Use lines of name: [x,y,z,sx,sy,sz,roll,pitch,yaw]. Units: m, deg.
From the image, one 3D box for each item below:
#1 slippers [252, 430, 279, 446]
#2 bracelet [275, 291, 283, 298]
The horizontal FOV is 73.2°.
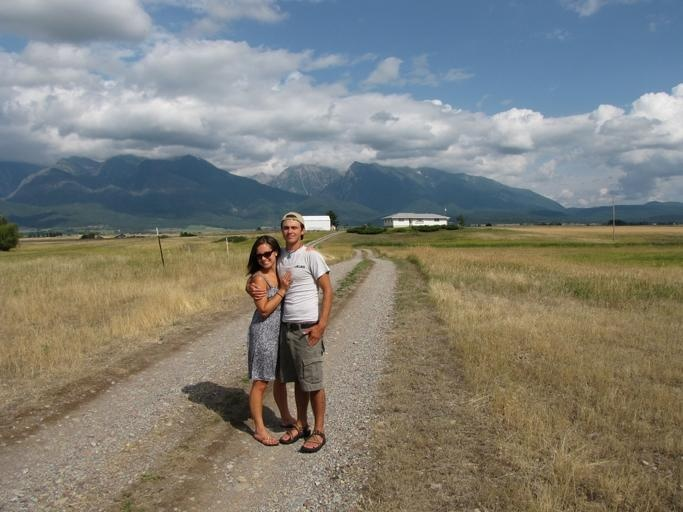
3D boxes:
slippers: [-1.635,3.866,9.782,0.431,0.185,0.244,1,-2,28]
bracelet: [-1.294,0.794,9.489,0.117,0.094,0.121,1,-2,10]
